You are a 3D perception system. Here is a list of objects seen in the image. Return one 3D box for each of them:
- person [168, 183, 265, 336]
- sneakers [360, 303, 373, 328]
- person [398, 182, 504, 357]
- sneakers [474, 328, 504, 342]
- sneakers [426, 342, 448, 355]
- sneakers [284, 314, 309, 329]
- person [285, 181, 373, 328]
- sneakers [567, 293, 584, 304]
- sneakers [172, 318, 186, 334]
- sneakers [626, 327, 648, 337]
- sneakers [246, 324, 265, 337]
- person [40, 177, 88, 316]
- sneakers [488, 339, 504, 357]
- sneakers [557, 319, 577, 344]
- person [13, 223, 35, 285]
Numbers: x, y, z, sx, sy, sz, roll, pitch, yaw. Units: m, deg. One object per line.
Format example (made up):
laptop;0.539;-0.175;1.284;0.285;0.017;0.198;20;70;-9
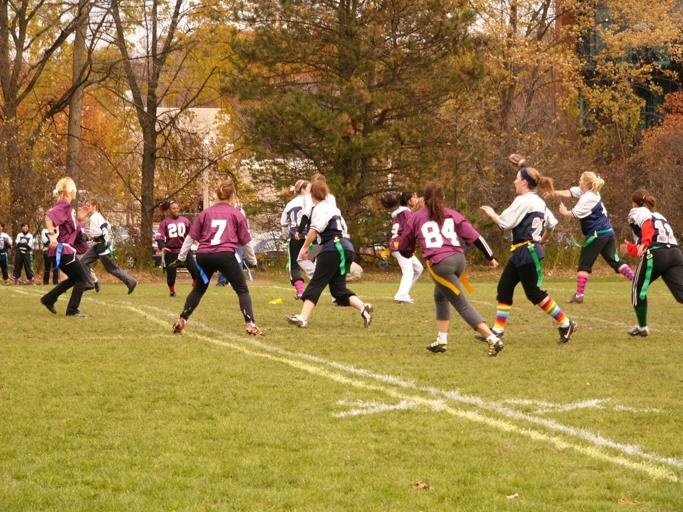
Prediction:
person;-1.776;0.050;12.806;1.211;2.249;0.614;-1;8;-13
sneakers;0.390;0.941;13.506;0.179;0.396;0.136;-2;19;8
person;1.482;0.172;12.159;1.400;2.369;1.158;1;8;2
sneakers;2.141;1.135;12.658;0.460;0.235;0.175;1;-4;8
sneakers;1.356;1.281;12.161;0.302;0.166;0.117;5;-3;20
sneakers;-0.665;1.000;13.345;0.324;0.151;0.163;34;37;18
person;-0.160;-0.054;13.501;1.441;2.223;0.869;1;-6;5
sneakers;4.724;0.849;17.395;0.390;0.222;0.142;6;-3;-3
sneakers;-2.425;1.025;12.997;0.172;0.256;0.234;10;9;22
sneakers;4.571;1.158;13.409;0.333;0.161;0.125;8;8;44
sneakers;-1.279;1.087;13.001;0.120;0.185;0.348;-4;-7;32
person;-4.600;-0.102;14.426;0.694;2.326;1.342;-2;8;-19
sneakers;2.108;1.234;11.816;0.157;0.231;0.077;28;12;13
sneakers;3.347;1.097;12.916;0.236;0.165;0.452;29;48;10
person;-9.026;-0.061;24.687;0.549;1.647;1.300;-2;8;-21
